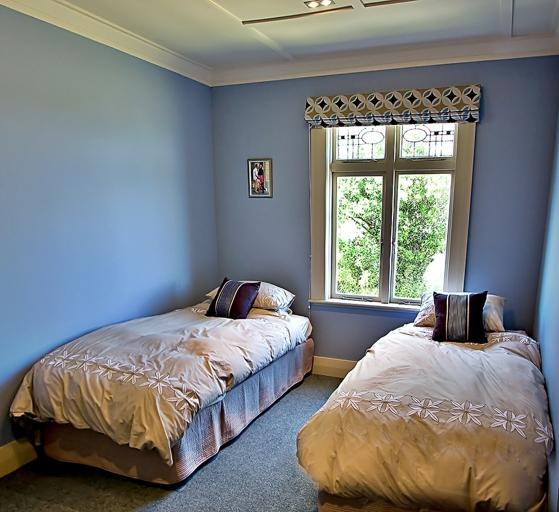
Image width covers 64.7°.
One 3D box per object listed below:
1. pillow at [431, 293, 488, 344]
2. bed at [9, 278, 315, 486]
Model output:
[{"bbox_3d":[1.357,0.474,3.296,0.317,0.140,0.354,0,49,17],"label":"pillow"},{"bbox_3d":[-0.600,0.774,3.235,0.897,0.655,1.529,2,5,27],"label":"bed"}]
